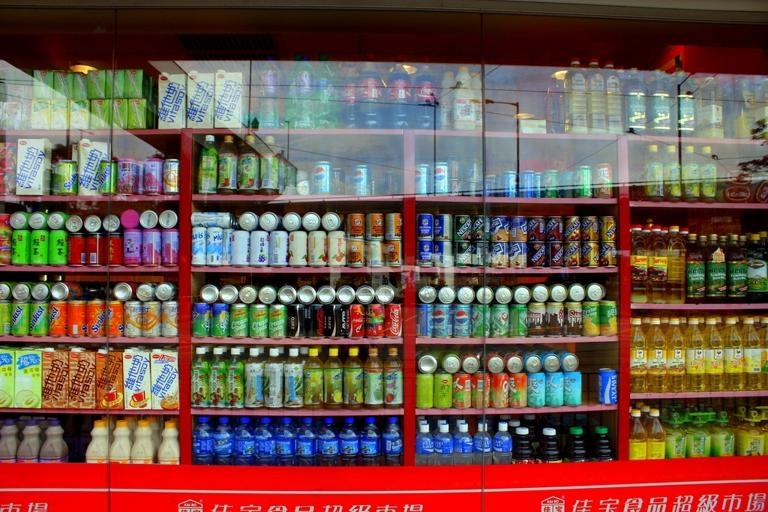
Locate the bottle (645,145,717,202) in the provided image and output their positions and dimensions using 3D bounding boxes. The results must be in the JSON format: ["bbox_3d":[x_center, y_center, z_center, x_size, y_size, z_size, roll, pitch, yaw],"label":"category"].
[{"bbox_3d":[1.526,-0.433,5.942,0.373,0.241,0.104,1,-3,-9],"label":"bottle"}]

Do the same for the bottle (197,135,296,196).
[{"bbox_3d":[-0.727,-0.465,5.856,0.389,0.196,0.104,1,-5,-4],"label":"bottle"}]
